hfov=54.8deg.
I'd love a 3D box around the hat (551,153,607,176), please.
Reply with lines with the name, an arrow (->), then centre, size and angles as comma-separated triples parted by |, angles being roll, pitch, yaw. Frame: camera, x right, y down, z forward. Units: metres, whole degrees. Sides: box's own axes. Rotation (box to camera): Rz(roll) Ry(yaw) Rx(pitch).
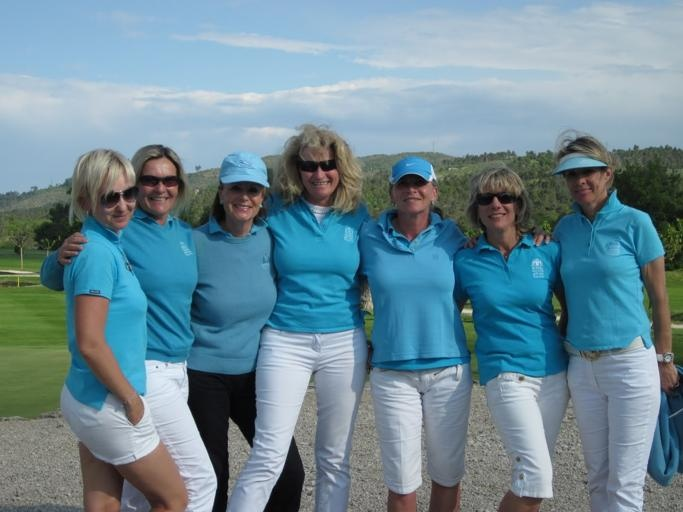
hat -> 2.119, -0.827, 5.878 | 0.345, 0.257, 0.246 | 6, -29, -15

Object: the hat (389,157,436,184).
hat -> 0.654, -0.821, 6.145 | 0.365, 0.272, 0.606 | 1, 12, 8

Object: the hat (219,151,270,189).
hat -> -0.892, -0.805, 6.062 | 0.474, 0.318, 0.634 | 2, 5, -14
